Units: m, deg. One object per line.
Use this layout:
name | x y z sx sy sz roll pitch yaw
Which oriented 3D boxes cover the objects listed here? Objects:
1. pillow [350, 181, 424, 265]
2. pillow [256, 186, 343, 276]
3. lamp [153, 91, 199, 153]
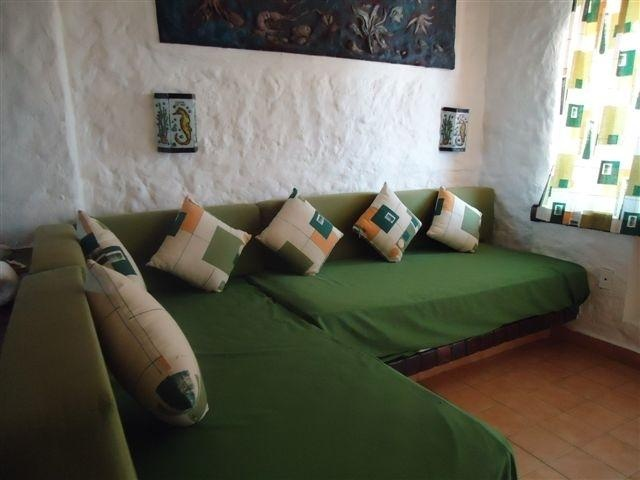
pillow | 0.507 -0.117 3.238 0.420 0.144 0.512 33 60 5
pillow | -0.114 -0.019 2.947 0.657 0.163 0.721 12 49 -16
lamp | -0.928 -0.754 2.829 0.339 0.469 0.167 -3 6 -27
